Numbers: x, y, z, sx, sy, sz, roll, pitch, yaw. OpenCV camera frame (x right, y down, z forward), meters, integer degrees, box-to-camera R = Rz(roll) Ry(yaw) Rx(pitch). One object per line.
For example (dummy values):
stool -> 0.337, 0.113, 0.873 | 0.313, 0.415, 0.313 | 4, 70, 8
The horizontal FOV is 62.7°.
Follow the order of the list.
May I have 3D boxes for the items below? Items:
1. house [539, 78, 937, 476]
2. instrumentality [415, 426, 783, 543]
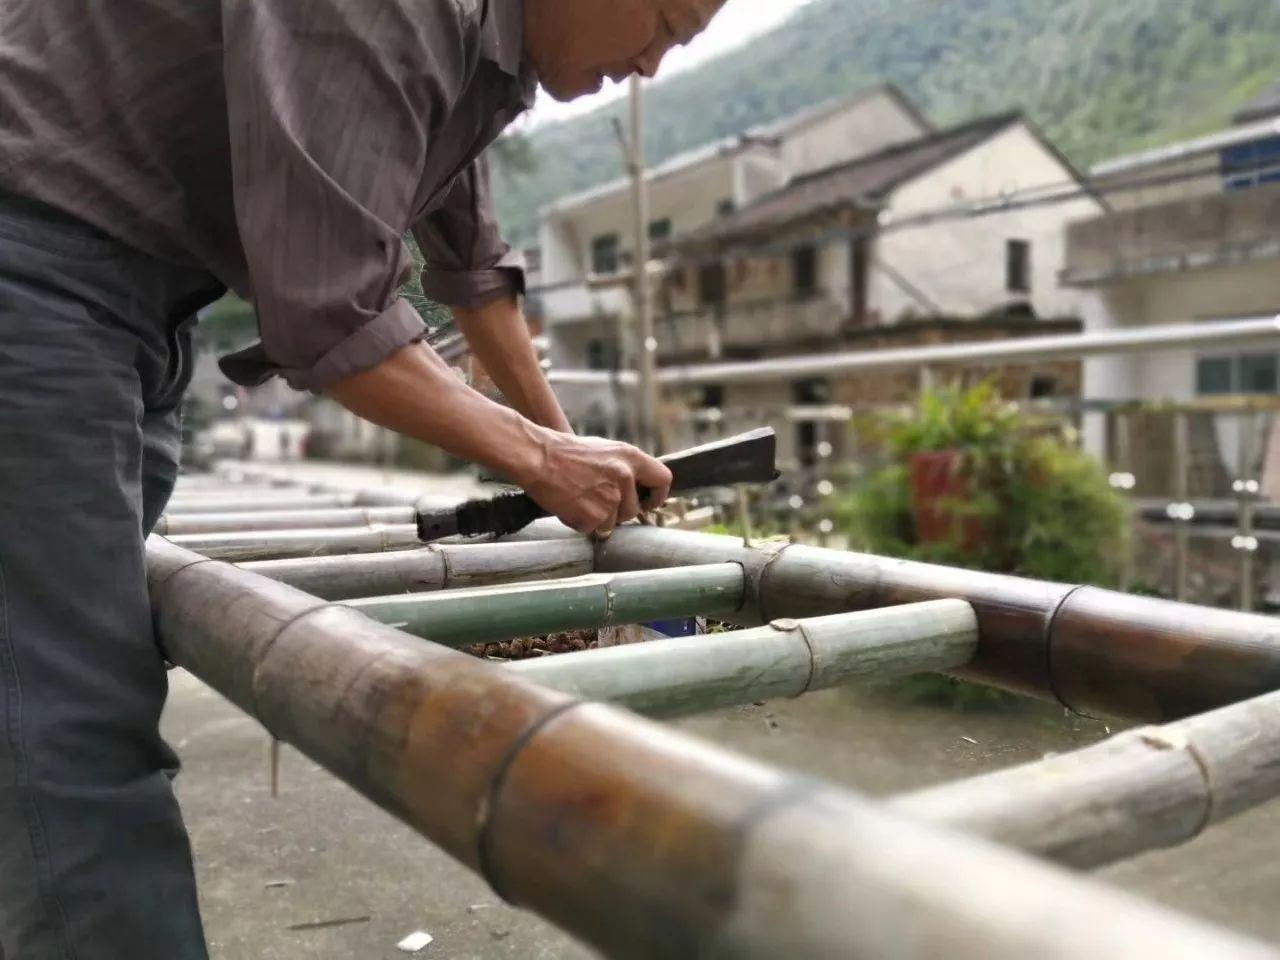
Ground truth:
house -> 0.692, -0.702, 6.367 | 1.764, 1.710, 2.695 | -6, 7, -27
instrumentality -> -0.083, -0.005, 1.960 | 0.714, 0.163, 0.148 | -10, 29, -7
